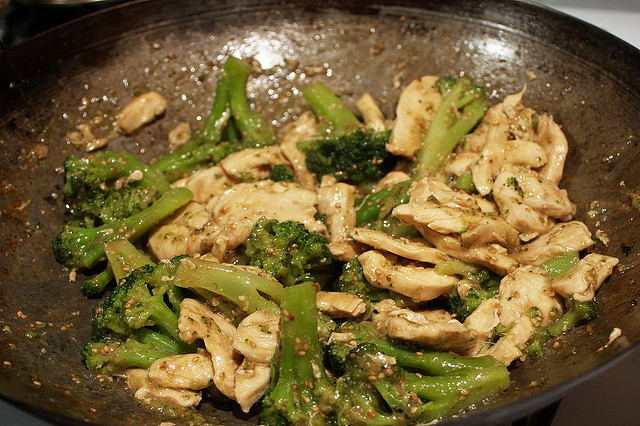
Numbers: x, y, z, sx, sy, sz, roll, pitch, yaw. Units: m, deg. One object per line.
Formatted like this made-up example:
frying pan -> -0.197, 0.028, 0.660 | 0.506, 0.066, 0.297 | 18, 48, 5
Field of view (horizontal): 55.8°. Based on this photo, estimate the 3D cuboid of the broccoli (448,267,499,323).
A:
broccoli -> 1.228, 0.654, 4.547 | 0.380, 0.116, 0.378 | -44, 31, 3

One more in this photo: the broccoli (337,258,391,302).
broccoli -> 0.314, 0.506, 4.717 | 0.129, 0.328, 0.279 | 17, 56, 0

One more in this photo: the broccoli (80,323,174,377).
broccoli -> -1.415, 1.038, 4.355 | 0.599, 0.100, 0.310 | 16, 66, 4

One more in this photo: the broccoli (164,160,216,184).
broccoli -> -1.165, -0.361, 5.216 | 0.263, 0.261, 0.072 | -27, 88, -41

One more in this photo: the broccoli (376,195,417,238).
broccoli -> 0.608, 0.033, 4.852 | 0.301, 0.090, 0.304 | 17, 95, 39

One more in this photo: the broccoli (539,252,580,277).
broccoli -> 1.802, 0.372, 4.509 | 0.264, 0.130, 0.128 | -21, 69, -12

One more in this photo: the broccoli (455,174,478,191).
broccoli -> 1.197, -0.250, 4.881 | 0.131, 0.060, 0.131 | 1, 36, 2

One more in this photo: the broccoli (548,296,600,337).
broccoli -> 1.752, 0.733, 4.222 | 0.208, 0.214, 0.347 | 40, 70, 14
